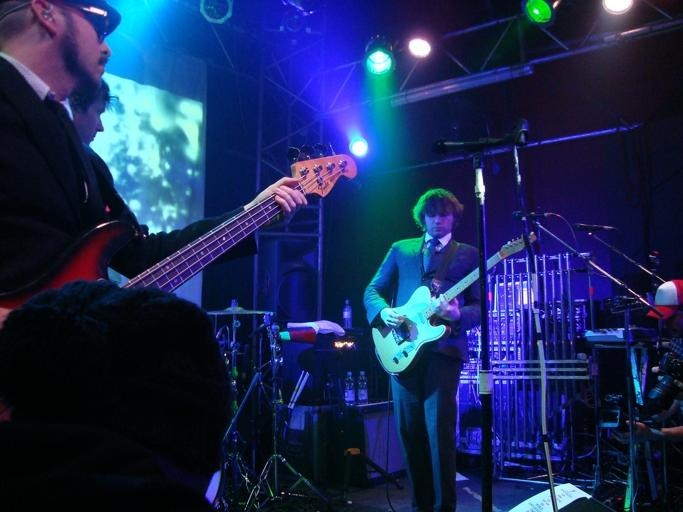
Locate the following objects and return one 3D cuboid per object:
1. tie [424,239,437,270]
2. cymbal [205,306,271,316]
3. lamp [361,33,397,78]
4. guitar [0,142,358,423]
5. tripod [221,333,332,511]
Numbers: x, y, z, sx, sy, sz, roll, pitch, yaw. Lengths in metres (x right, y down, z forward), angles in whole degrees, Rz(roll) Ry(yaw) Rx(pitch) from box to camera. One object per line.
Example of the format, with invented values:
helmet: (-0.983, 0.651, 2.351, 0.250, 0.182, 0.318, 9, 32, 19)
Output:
tie: (0.630, -0.013, 4.528, 0.057, 0.307, 0.061, -2, -38, 33)
cymbal: (-0.949, 0.527, 5.965, 0.408, 0.115, 0.443, -3, -4, 9)
lamp: (0.393, -2.320, 7.349, 0.316, 0.454, 0.437, -2, 12, -27)
guitar: (-0.791, 0.155, 3.693, 0.364, 0.931, 2.670, 1, 29, 29)
tripod: (-0.534, 1.499, 5.586, 0.886, 1.609, 1.080, -11, -27, 14)
